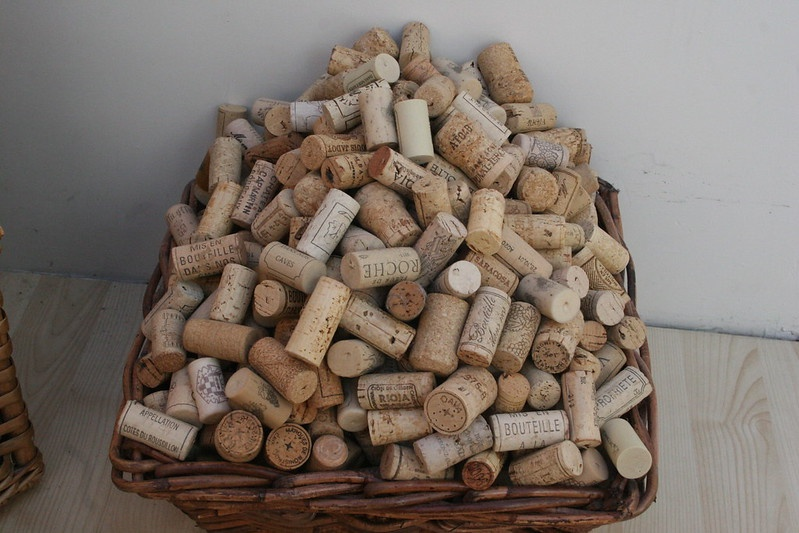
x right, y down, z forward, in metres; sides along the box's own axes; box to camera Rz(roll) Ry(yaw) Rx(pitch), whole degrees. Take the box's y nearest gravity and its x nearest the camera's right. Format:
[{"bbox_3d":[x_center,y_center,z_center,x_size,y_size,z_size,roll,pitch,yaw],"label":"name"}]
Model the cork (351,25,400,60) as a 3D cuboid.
[{"bbox_3d":[-0.140,-1.346,4.859,0.225,0.093,0.234,41,77,8],"label":"cork"}]
